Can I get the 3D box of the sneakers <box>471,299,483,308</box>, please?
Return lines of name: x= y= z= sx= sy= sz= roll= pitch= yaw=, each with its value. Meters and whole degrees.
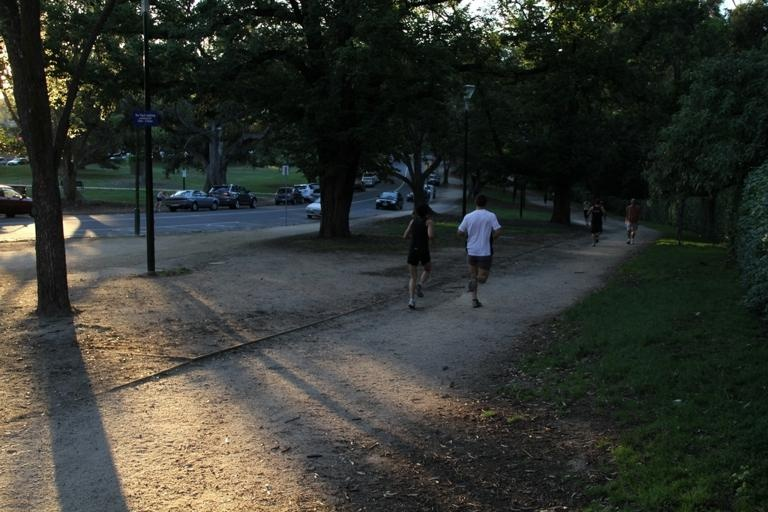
sneakers: x=2.048 y=0.990 z=14.289 sx=0.116 sy=0.163 sz=0.288 roll=4 pitch=17 yaw=23

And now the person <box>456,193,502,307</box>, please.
person: x=2.040 y=-0.138 z=14.154 sx=0.817 sy=2.489 sz=0.951 roll=4 pitch=14 yaw=7

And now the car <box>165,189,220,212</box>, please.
car: x=-14.842 y=-4.192 z=49.409 sx=1.740 sy=1.513 sz=3.854 roll=11 pitch=16 yaw=34

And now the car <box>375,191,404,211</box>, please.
car: x=0.534 y=-4.773 z=55.667 sx=1.911 sy=1.281 sz=2.698 roll=4 pitch=13 yaw=10
